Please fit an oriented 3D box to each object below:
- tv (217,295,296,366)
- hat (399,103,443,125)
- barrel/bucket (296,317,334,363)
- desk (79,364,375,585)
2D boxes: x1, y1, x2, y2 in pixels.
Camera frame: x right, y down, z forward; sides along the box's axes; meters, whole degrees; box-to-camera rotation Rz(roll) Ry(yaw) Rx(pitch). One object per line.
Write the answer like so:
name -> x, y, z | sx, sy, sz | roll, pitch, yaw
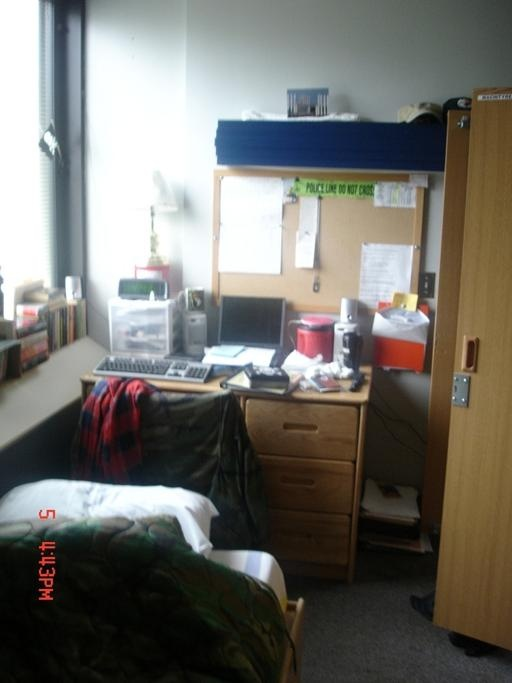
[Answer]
tv -> -0.021, -0.094, 2.667 | 0.295, 0.349, 0.269 | 2, 5, 9
hat -> 0.720, -0.999, 2.444 | 0.186, 0.083, 0.063 | 3, 9, 15
barrel/bucket -> 0.271, -0.027, 2.542 | 0.153, 0.230, 0.171 | -2, 6, -22
desk -> -0.027, 0.472, 2.456 | 0.973, 0.913, 0.480 | 4, 25, 10
